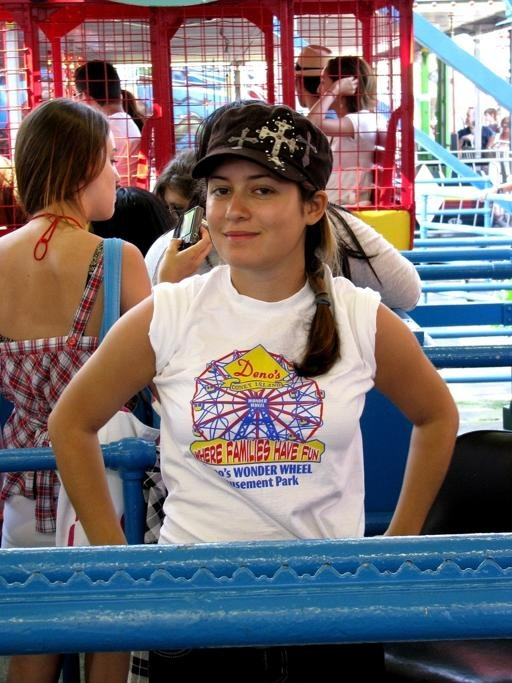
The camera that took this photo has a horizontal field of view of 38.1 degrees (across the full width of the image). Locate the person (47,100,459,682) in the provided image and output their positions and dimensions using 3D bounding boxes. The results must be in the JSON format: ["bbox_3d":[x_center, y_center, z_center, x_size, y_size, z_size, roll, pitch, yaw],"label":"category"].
[{"bbox_3d":[-0.005,-0.029,1.114,0.367,0.657,0.489,11,20,44],"label":"person"}]

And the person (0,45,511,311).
[{"bbox_3d":[0.001,-0.357,1.988,1.031,0.457,0.952,2,2,-4],"label":"person"}]

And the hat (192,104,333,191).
[{"bbox_3d":[-0.003,-0.319,1.152,0.198,0.103,0.236,5,14,11],"label":"hat"}]

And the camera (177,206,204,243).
[{"bbox_3d":[-0.154,-0.283,1.865,0.082,0.095,0.034,-18,-47,39],"label":"camera"}]
